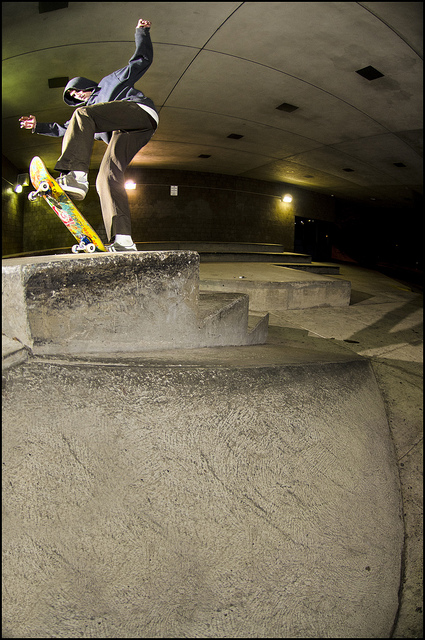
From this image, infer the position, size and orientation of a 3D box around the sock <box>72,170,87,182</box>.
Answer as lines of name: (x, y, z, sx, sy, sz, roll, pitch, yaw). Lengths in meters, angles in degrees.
sock: (-0.653, -0.710, 2.363, 0.041, 0.054, 0.054, 20, 42, 17)

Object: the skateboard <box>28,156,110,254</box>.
skateboard: (-0.841, -0.609, 2.880, 0.113, 0.701, 0.168, -23, 10, 22)
